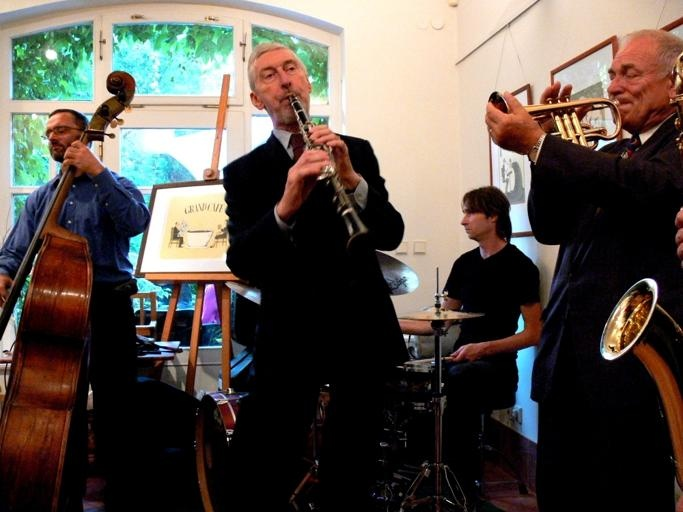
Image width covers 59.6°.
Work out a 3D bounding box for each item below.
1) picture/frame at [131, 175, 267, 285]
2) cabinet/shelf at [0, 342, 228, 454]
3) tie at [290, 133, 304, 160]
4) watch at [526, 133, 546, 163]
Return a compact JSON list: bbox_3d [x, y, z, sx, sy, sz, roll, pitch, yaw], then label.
[{"bbox_3d":[-0.806,-0.126,3.278,0.730,0.633,0.248,-1,-21,3],"label":"picture/frame"},{"bbox_3d":[-1.127,0.711,2.933,0.789,0.368,0.409,1,-5,-4],"label":"cabinet/shelf"},{"bbox_3d":[-0.159,-0.381,2.084,0.060,0.079,0.020,11,0,17],"label":"tie"},{"bbox_3d":[0.641,-0.350,1.975,0.024,0.083,0.089,26,39,21],"label":"watch"}]
